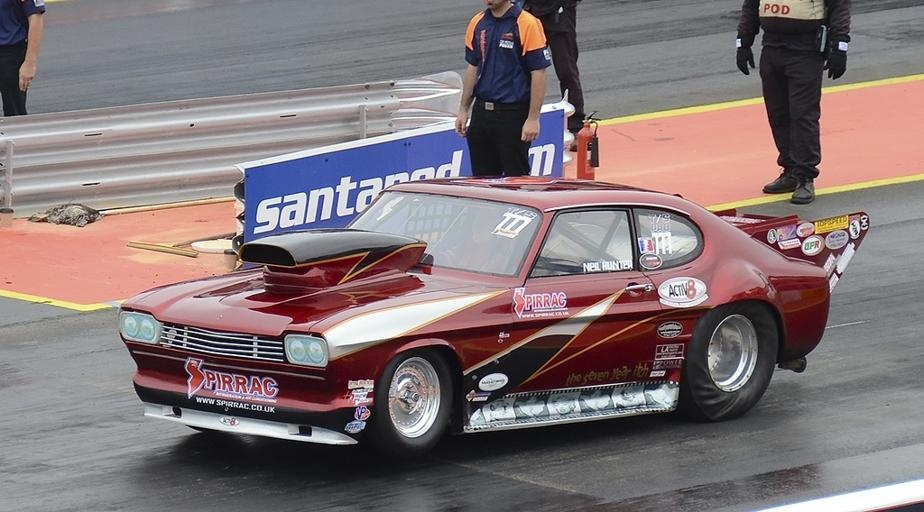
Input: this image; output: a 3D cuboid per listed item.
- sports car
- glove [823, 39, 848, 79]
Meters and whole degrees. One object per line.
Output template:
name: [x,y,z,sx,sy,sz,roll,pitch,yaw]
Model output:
sports car: [0.439,0.493,11.196,5.527,1.241,2.829,0,3,-27]
glove: [4.902,-2.584,16.089,0.234,0.538,0.325,-5,23,5]
